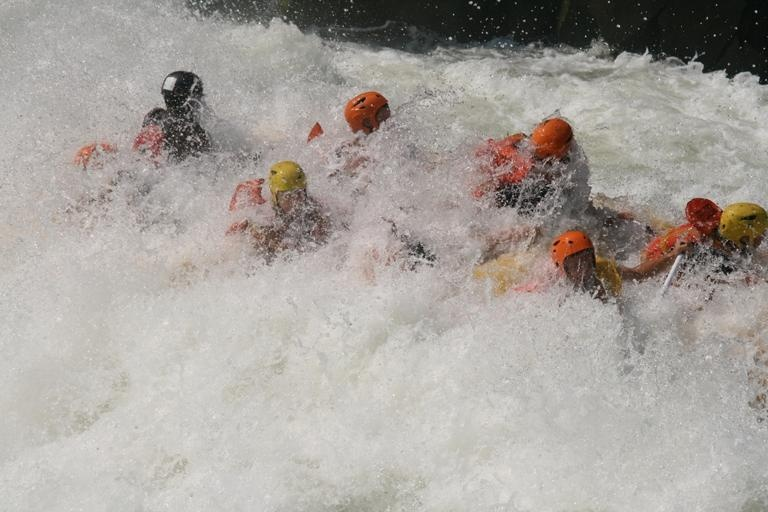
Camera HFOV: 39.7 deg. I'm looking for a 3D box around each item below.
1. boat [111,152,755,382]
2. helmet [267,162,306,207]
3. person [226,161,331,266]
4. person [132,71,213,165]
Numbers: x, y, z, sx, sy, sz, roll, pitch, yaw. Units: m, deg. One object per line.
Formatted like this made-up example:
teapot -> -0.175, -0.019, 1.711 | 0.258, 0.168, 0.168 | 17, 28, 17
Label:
boat -> 0.602, 0.195, 14.375 | 8.899, 0.603, 3.297 | 0, 58, 0
helmet -> -1.300, -1.039, 14.443 | 0.451, 0.573, 0.573 | -6, 44, -6
person -> -1.207, -0.783, 14.513 | 1.324, 1.109, 0.520 | 24, 91, 35
person -> -3.057, -1.943, 15.413 | 1.412, 0.907, 1.409 | 5, 93, 12
